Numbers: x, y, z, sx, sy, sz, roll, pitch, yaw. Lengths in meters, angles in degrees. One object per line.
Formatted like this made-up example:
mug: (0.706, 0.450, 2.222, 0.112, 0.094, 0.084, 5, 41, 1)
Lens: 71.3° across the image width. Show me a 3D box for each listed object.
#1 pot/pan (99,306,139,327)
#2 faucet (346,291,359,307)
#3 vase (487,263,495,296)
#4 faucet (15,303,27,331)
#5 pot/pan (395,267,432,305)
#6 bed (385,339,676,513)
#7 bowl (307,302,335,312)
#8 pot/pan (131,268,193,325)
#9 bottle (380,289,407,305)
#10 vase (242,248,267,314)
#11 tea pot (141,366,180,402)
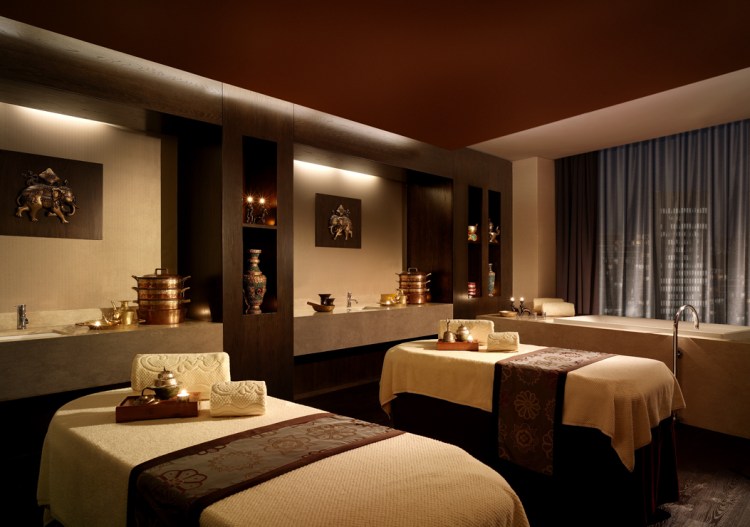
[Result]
pot/pan: (-1.798, 0.372, 3.663, 0.226, 0.164, 0.141, -7, -7, 37)
faucet: (-0.193, 0.360, 5.171, 0.158, 0.163, 0.074, -2, -3, 32)
vase: (1.357, 0.207, 6.123, 0.108, 0.363, 0.263, 6, 14, 13)
faucet: (-2.283, 0.344, 3.392, 0.065, 0.156, 0.135, -6, 16, -33)
pot/pan: (0.387, 0.251, 5.375, 0.420, 0.389, 0.322, 0, -5, -8)
bed: (0.966, 0.810, 3.413, 1.463, 0.657, 0.875, 2, 0, 42)
bowl: (-0.472, 0.384, 4.516, 0.209, 0.091, 0.102, 7, 14, 15)
pot/pan: (-1.467, 0.247, 3.750, 0.498, 0.437, 0.352, 3, -5, -44)
bottle: (0.190, 0.347, 5.185, 0.286, 0.126, 0.220, -1, 14, -16)
vase: (-0.926, 0.139, 4.053, 0.174, 0.486, 0.344, 0, 14, -13)
tea pot: (-1.056, 0.594, 2.560, 0.166, 0.146, 0.133, -4, -6, 20)
